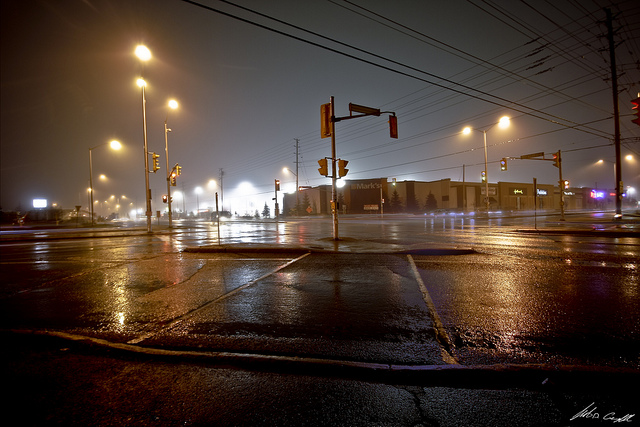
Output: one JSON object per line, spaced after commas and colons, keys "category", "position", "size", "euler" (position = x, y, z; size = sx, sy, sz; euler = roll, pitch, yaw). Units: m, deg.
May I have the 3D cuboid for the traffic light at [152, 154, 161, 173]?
{"category": "traffic light", "position": [-10.825, -3.303, 32.264], "size": [0.329, 1.121, 1.165], "euler": [-6, 13, -25]}

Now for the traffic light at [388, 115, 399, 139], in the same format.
{"category": "traffic light", "position": [3.106, -3.685, 20.980], "size": [0.311, 0.945, 0.436], "euler": [0, 12, 1]}

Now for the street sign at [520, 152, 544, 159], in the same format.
{"category": "street sign", "position": [15.199, -4.192, 35.357], "size": [0.846, 0.454, 1.741], "euler": [0, 12, 1]}

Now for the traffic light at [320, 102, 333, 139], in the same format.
{"category": "traffic light", "position": [0.280, -3.880, 20.410], "size": [0.640, 1.425, 0.204], "euler": [-2, -7, 19]}

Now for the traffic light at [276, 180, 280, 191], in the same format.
{"category": "traffic light", "position": [-4.613, -2.958, 51.688], "size": [0.238, 0.975, 0.783], "euler": [-4, 12, -15]}

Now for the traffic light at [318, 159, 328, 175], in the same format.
{"category": "traffic light", "position": [0.080, -1.938, 20.687], "size": [0.304, 0.632, 0.645], "euler": [-2, 12, -6]}

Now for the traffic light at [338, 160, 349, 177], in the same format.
{"category": "traffic light", "position": [0.939, -1.882, 20.644], "size": [0.317, 0.726, 0.397], "euler": [0, 12, 3]}

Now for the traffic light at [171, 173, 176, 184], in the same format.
{"category": "traffic light", "position": [-11.072, -2.688, 37.055], "size": [0.273, 0.826, 0.970], "euler": [-4, 12, -16]}
